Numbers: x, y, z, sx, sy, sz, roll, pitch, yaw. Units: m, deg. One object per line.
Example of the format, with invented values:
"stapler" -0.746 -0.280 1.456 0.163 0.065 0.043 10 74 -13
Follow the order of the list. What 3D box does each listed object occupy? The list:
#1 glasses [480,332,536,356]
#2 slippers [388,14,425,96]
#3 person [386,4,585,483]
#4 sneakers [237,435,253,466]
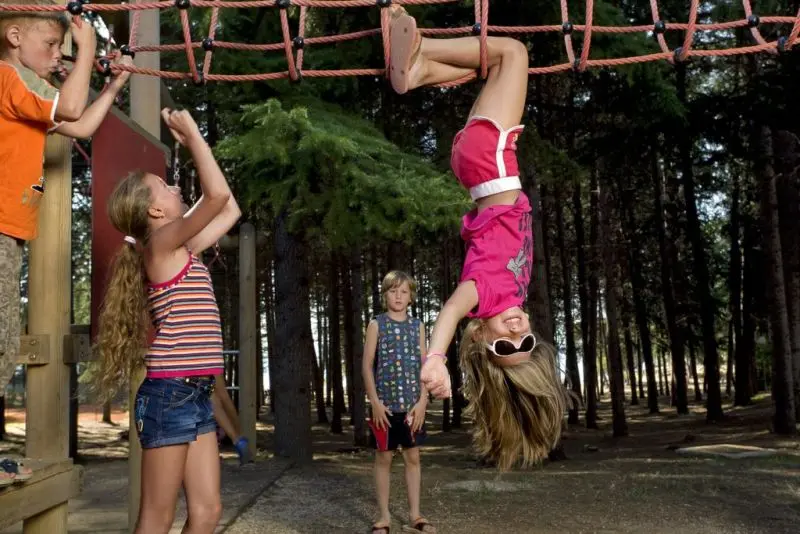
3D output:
"glasses" 0.933 0.632 6.355 0.449 0.184 0.151 -1 -7 -15
"slippers" 0.029 -1.669 6.191 0.269 0.605 0.269 7 12 31
"person" 0.725 -0.200 6.330 0.859 3.769 1.580 -9 -9 39
"sneakers" -1.225 1.463 6.106 0.092 0.228 0.102 -2 19 24
